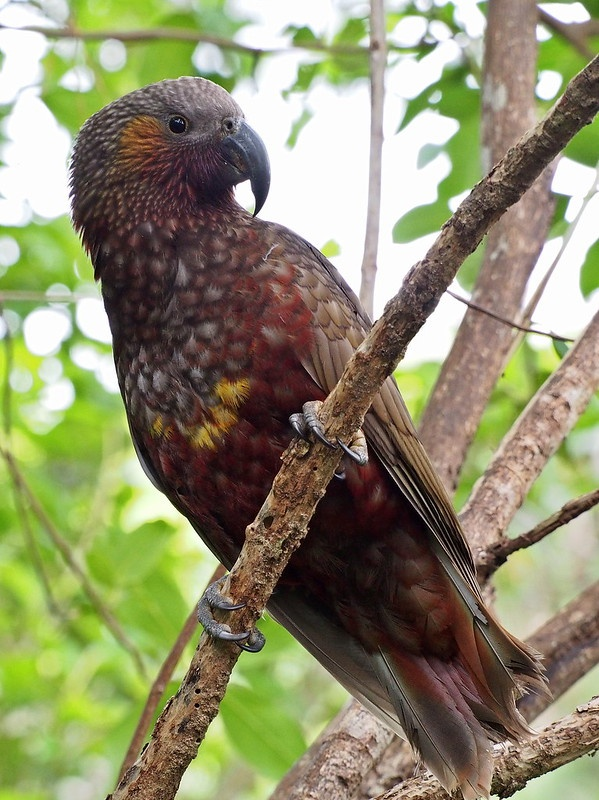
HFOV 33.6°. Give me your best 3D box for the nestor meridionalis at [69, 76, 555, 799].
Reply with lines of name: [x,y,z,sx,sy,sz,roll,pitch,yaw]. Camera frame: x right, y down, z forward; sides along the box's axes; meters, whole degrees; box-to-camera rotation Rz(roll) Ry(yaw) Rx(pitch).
nestor meridionalis: [-0.061,0.079,2.708,0.783,2.121,0.997,-28,-32,-7]
